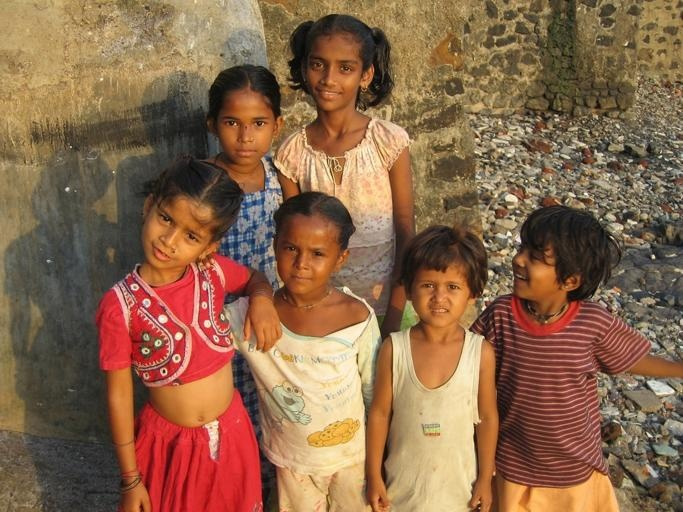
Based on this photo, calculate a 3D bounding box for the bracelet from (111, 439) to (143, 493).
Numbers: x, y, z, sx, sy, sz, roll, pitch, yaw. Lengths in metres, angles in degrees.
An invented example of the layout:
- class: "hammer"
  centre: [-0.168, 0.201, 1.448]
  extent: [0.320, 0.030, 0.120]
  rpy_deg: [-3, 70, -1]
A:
- class: "bracelet"
  centre: [-0.797, 0.776, 2.874]
  extent: [0.087, 0.193, 0.081]
  rpy_deg: [-2, 4, -18]
